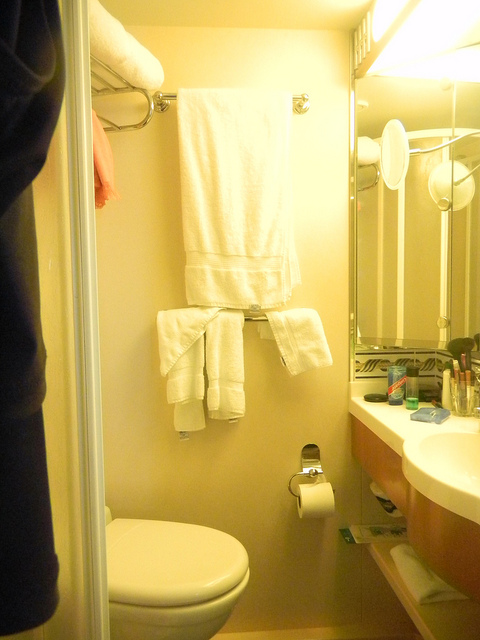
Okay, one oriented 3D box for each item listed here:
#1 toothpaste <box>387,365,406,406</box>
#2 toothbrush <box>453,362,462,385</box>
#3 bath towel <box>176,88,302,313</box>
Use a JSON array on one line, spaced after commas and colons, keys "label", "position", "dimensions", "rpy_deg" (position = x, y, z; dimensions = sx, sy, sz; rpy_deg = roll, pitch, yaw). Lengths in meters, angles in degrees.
[{"label": "toothpaste", "position": [0.474, 0.186, 1.643], "dimensions": [0.053, 0.143, 0.061], "rpy_deg": [7, 24, 31]}, {"label": "toothbrush", "position": [0.582, 0.141, 1.444], "dimensions": [0.016, 0.055, 0.020], "rpy_deg": [-1, 5, -1]}, {"label": "bath towel", "position": [-0.001, -0.349, 1.574], "dimensions": [0.350, 0.620, 0.093], "rpy_deg": [0, 5, 4]}]
